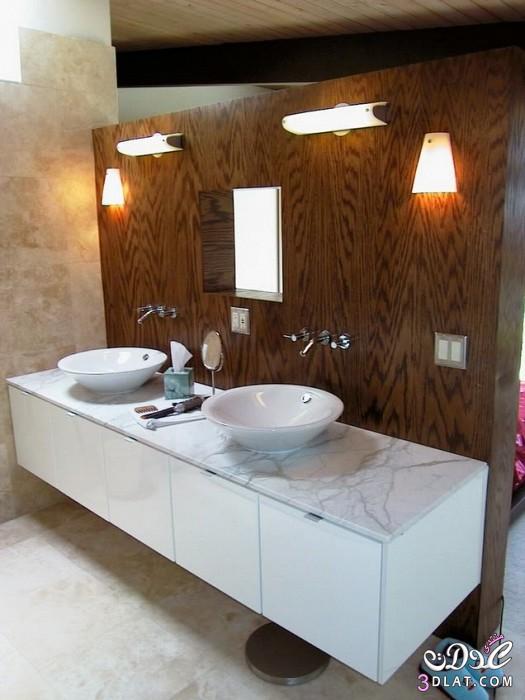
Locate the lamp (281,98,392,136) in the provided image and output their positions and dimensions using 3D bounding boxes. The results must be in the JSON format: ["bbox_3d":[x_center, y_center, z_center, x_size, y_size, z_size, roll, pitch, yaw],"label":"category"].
[{"bbox_3d":[0.206,-0.682,1.673,0.301,0.056,0.142,5,12,33],"label":"lamp"}]

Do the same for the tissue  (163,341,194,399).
[{"bbox_3d":[-0.348,0.083,2.366,0.141,0.233,0.138,-8,15,-32],"label":"tissue "}]

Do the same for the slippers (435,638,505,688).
[{"bbox_3d":[0.628,0.924,1.723,0.089,0.070,0.189,-11,9,-31],"label":"slippers"}]

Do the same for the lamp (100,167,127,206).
[{"bbox_3d":[-0.718,-0.777,2.726,0.104,0.184,0.228,-4,10,-13],"label":"lamp"}]

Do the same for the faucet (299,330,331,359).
[{"bbox_3d":[0.169,-0.018,1.933,0.057,0.055,0.149,11,23,38],"label":"faucet"}]

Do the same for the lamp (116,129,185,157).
[{"bbox_3d":[-0.502,-0.842,2.390,0.385,0.094,0.104,6,19,38],"label":"lamp"}]

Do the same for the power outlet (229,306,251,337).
[{"bbox_3d":[-0.089,-0.120,2.283,0.015,0.115,0.113,-9,12,-41],"label":"power outlet"}]

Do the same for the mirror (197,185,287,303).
[{"bbox_3d":[-0.075,-0.462,2.422,0.341,0.450,0.493,1,10,16],"label":"mirror"}]

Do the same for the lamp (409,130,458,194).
[{"bbox_3d":[0.429,-0.509,1.576,0.134,0.171,0.134,-4,22,0],"label":"lamp"}]
